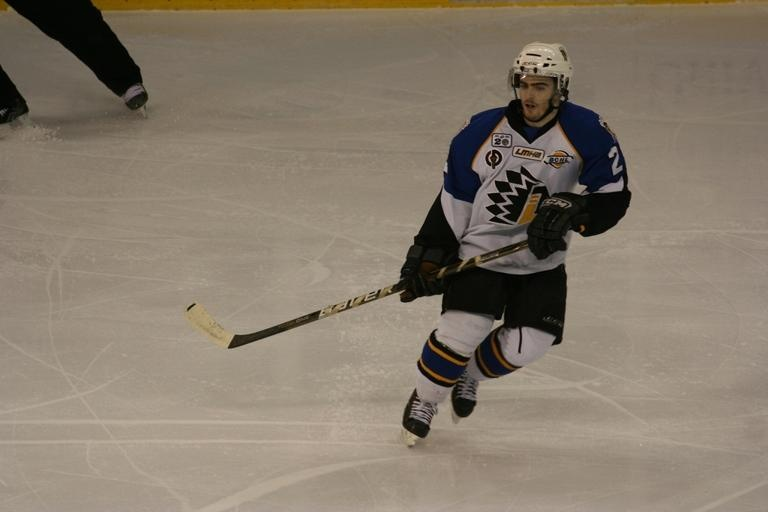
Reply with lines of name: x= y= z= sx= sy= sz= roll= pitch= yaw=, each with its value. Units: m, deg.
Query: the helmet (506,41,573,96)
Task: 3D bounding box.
helmet: x=0.692 y=-0.800 z=5.650 sx=0.271 sy=0.264 sz=0.214 roll=0 pitch=52 yaw=5

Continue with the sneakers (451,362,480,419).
sneakers: x=0.367 y=0.651 z=5.925 sx=0.102 sy=0.105 sz=0.266 roll=23 pitch=18 yaw=-6

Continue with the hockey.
hockey: x=-0.003 y=0.180 z=6.052 sx=1.757 sy=0.164 sz=0.195 roll=-15 pitch=95 yaw=4

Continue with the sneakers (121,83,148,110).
sneakers: x=-1.340 y=-0.856 z=6.847 sx=0.128 sy=0.061 sz=0.152 roll=-27 pitch=32 yaw=6

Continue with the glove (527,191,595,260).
glove: x=0.773 y=-0.111 z=5.635 sx=0.259 sy=0.282 sz=0.287 roll=5 pitch=52 yaw=8
